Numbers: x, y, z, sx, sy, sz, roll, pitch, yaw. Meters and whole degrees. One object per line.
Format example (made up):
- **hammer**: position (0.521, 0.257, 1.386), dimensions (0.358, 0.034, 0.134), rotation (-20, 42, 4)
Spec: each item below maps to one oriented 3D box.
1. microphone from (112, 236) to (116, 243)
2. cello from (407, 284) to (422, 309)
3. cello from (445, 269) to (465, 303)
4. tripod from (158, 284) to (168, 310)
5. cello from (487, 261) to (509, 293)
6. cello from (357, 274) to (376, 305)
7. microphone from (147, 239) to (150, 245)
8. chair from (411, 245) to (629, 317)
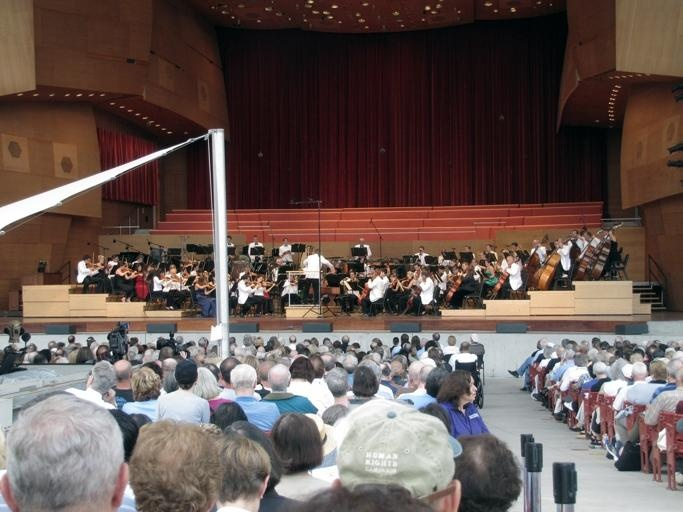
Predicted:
- **microphone**: position (-7.662, -0.561, 22.914), dimensions (0.131, 0.148, 0.081), rotation (2, 8, 10)
- **cello**: position (1.847, 1.018, 17.226), dimensions (0.179, 0.614, 0.294), rotation (0, 9, -21)
- **cello**: position (2.906, 0.776, 17.391), dimensions (0.173, 1.148, 0.481), rotation (27, -21, 1)
- **tripod**: position (-4.550, 1.049, 17.577), dimensions (0.149, 0.623, 0.426), rotation (2, 1, -12)
- **cello**: position (3.920, 0.527, 16.878), dimensions (0.223, 0.803, 0.403), rotation (8, 18, 23)
- **cello**: position (0.633, 0.816, 17.096), dimensions (0.262, 0.725, 0.510), rotation (24, -8, -8)
- **microphone**: position (-6.334, -0.473, 22.354), dimensions (0.113, 0.240, 0.122), rotation (1, -4, -8)
- **chair**: position (4.449, 0.657, 16.772), dimensions (3.741, 1.437, 1.162), rotation (2, 5, 5)
